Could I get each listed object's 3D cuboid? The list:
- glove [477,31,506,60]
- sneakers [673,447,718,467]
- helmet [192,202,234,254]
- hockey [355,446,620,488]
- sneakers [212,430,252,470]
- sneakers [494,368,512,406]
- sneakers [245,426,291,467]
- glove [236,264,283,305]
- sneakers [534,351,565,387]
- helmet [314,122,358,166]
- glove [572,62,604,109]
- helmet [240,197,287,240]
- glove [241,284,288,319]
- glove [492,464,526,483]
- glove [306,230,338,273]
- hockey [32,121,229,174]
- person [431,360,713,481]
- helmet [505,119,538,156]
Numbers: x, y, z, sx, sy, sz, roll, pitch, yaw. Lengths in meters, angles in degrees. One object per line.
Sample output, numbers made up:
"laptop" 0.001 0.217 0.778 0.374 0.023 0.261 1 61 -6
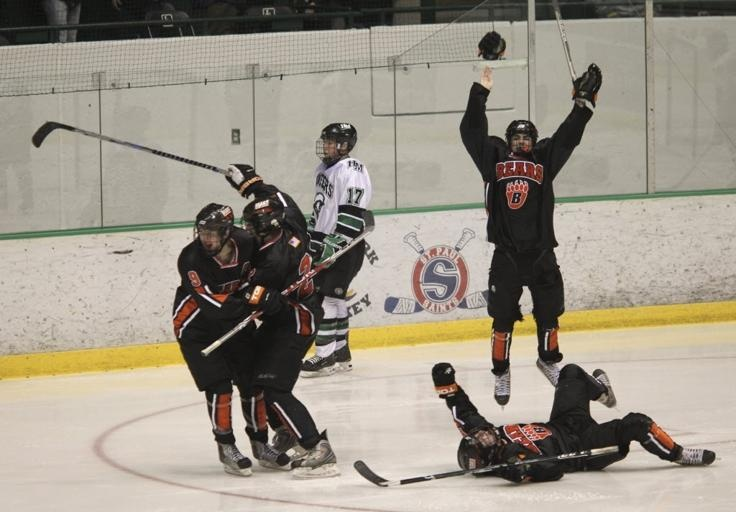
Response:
"glove" 0.959 -1.626 9.431 0.249 0.298 0.115 2 10 13
"sneakers" 2.134 1.301 7.828 0.228 0.079 0.125 -3 8 11
"helmet" -1.019 -0.194 7.982 0.281 0.307 0.335 2 16 23
"hockey" 0.832 1.377 7.840 1.939 0.097 0.289 -1 43 6
"sneakers" -0.891 1.317 8.184 0.133 0.241 0.387 -16 13 -37
"sneakers" 1.007 0.976 9.031 0.095 0.110 0.263 -7 51 22
"sneakers" -0.656 1.308 8.292 0.394 0.254 0.151 6 18 35
"glove" -0.713 0.196 7.974 0.282 0.114 0.267 -33 41 7
"sneakers" 1.381 0.863 9.190 0.091 0.258 0.185 -29 -16 -37
"helmet" -0.228 -0.956 10.107 0.401 0.310 0.288 -1 9 0
"glove" 1.635 -1.294 9.007 0.259 0.331 0.140 8 -7 -5
"helmet" -0.676 -0.264 8.168 0.345 0.276 0.265 -15 10 6
"glove" -0.689 0.315 7.983 0.271 0.256 0.279 4 10 24
"glove" 0.913 1.387 7.741 0.187 0.064 0.123 -2 -7 -2
"glove" -0.409 -0.052 10.021 0.222 0.317 0.112 9 8 10
"hockey" -2.220 -0.988 10.966 1.968 0.279 0.139 15 8 11
"person" 1.296 1.034 8.004 1.635 0.602 1.072 -8 25 -12
"helmet" 1.170 -0.913 9.165 0.267 0.263 0.306 1 0 10
